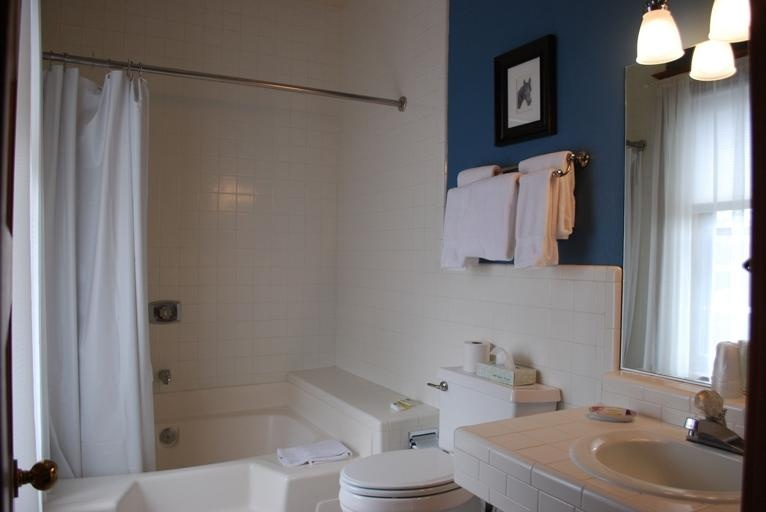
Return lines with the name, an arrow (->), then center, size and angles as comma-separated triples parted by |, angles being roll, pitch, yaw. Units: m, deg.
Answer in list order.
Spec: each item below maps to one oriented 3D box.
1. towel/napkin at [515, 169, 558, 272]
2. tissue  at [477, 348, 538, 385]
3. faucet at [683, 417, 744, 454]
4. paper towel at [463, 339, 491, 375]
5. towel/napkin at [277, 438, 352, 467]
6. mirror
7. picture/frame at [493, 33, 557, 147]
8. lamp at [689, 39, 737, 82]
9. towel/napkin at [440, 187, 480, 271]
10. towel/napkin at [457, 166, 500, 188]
towel/napkin -> 0.698, -0.170, 2.628 | 0.193, 0.451, 0.140 | 1, 9, 22
tissue  -> 0.607, 0.557, 2.792 | 0.148, 0.176, 0.275 | 4, -5, -33
faucet -> 1.131, 0.611, 1.963 | 0.171, 0.083, 0.078 | 3, 10, 34
paper towel -> 0.485, 0.509, 2.968 | 0.112, 0.129, 0.113 | -1, 2, 5
towel/napkin -> -0.377, 1.125, 3.258 | 0.241, 0.046, 0.256 | 0, -7, -20
mirror -> 1.194, -0.149, 2.304 | 0.221, 1.292, 0.540 | -10, 12, -44
picture/frame -> 0.722, -0.834, 2.918 | 0.086, 0.510, 0.400 | -8, 10, -35
lamp -> 1.252, -0.739, 2.192 | 0.142, 0.144, 0.140 | -10, 13, -43
towel/napkin -> 0.381, -0.144, 2.992 | 0.071, 0.428, 0.191 | -7, 10, -32
towel/napkin -> 0.483, -0.416, 2.963 | 0.231, 0.103, 0.210 | 0, 9, 19
